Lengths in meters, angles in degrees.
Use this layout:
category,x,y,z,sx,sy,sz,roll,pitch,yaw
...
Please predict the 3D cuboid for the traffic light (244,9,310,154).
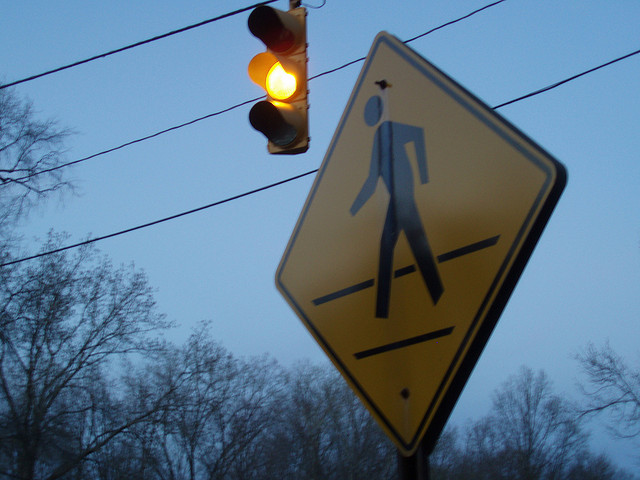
category,x,y,z,sx,sy,sz,roll,pitch,yaw
traffic light,-0.648,-2.339,12.862,0.882,1.996,1.233,-2,-37,-4
